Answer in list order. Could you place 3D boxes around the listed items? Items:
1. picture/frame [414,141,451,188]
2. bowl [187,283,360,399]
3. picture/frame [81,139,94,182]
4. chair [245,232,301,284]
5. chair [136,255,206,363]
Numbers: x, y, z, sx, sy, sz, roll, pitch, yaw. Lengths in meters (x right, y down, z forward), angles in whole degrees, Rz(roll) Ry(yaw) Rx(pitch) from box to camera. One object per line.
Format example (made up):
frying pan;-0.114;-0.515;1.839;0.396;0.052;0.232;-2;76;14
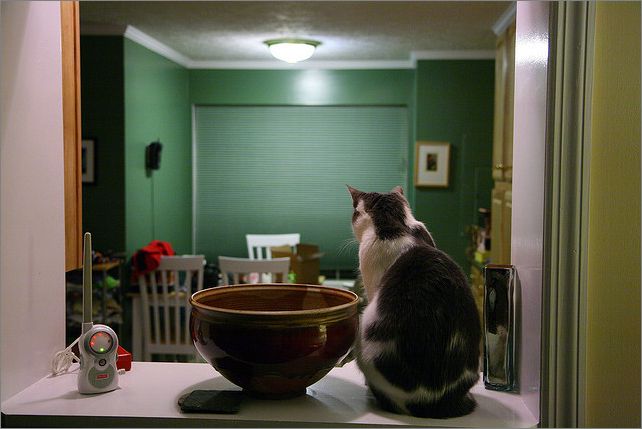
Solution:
picture/frame;0.673;-0.307;3.219;0.223;0.261;0.014;0;4;-15
bowl;-0.081;0.207;0.892;0.226;0.136;0.230;1;-9;0
picture/frame;-1.272;-0.286;2.876;0.084;0.240;0.045;3;8;18
chair;-0.317;0.255;3.110;0.159;0.231;0.164;-13;2;-4
chair;-0.755;0.522;2.724;0.358;0.542;0.350;1;-5;-30
